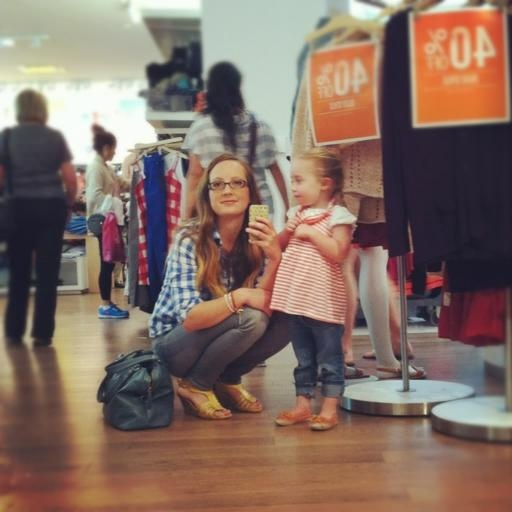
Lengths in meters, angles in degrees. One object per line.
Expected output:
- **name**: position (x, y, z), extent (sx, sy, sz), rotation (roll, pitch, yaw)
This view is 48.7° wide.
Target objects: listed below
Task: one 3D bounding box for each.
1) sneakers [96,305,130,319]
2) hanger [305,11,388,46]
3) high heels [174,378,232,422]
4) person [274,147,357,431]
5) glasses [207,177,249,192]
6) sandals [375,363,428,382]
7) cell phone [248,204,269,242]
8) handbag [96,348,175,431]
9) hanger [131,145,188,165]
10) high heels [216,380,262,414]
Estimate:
- **sneakers**: position (-0.954, 0.364, 3.740), extent (0.190, 0.086, 0.068), rotation (1, 0, -18)
- **hanger**: position (0.214, -0.565, 1.427), extent (0.205, 0.070, 0.087), rotation (-2, 2, -18)
- **high heels**: position (-0.168, 0.448, 1.776), extent (0.218, 0.098, 0.074), rotation (0, 0, 39)
- **person**: position (0.163, 0.096, 1.646), extent (0.240, 0.784, 0.230), rotation (-1, 2, 2)
- **glasses**: position (-0.089, -0.215, 1.733), extent (0.122, 0.037, 0.045), rotation (-1, 2, -4)
- **sandals**: position (0.554, 0.450, 2.185), extent (0.202, 0.071, 0.082), rotation (-2, -3, 3)
- **cell phone**: position (0.006, -0.102, 1.689), extent (0.057, 0.117, 0.159), rotation (-1, 1, -1)
- **handbag**: position (-0.338, 0.386, 1.640), extent (0.162, 0.116, 0.228), rotation (3, -2, -22)
- **hanger**: position (-0.456, -0.485, 2.713), extent (0.384, 0.106, 0.070), rotation (3, 10, 37)
- **high heels**: position (-0.054, 0.456, 1.846), extent (0.147, 0.062, 0.070), rotation (3, 2, 32)
